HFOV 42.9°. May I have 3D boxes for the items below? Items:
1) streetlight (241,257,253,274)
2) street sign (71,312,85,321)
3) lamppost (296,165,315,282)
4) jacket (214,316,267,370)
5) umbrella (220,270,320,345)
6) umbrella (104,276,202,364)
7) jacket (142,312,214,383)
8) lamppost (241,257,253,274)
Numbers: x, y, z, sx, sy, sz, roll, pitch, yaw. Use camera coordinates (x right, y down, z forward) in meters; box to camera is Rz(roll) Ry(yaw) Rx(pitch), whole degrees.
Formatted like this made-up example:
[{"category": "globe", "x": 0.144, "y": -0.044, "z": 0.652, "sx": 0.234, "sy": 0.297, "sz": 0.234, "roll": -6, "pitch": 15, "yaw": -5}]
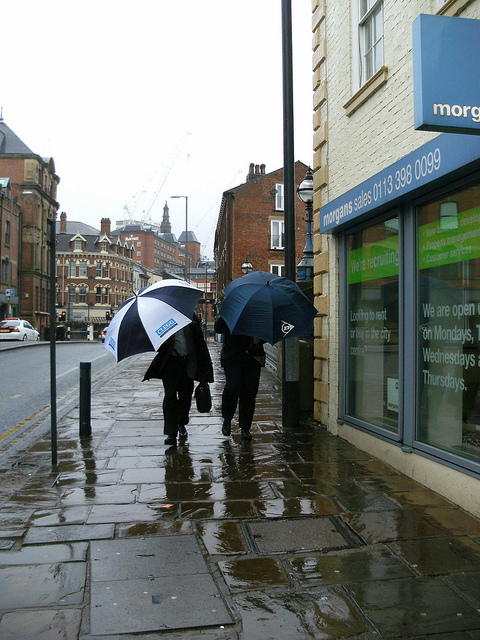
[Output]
[{"category": "streetlight", "x": 0.299, "y": -1.881, "z": 21.675, "sx": 0.428, "sy": 0.722, "sz": 0.444, "roll": 0, "pitch": 1, "yaw": -31}, {"category": "street sign", "x": -21.935, "y": -0.474, "z": 82.807, "sx": 1.600, "sy": 1.857, "sz": 0.917, "roll": 1, "pitch": -8, "yaw": -22}, {"category": "lamppost", "x": 1.281, "y": -1.759, "z": 12.021, "sx": 0.398, "sy": 2.847, "sz": 0.360, "roll": 0, "pitch": 3, "yaw": 0}, {"category": "jacket", "x": -0.027, "y": 0.322, "z": 6.685, "sx": 0.470, "sy": 0.667, "sz": 0.530, "roll": -2, "pitch": -14, "yaw": -9}, {"category": "umbrella", "x": 0.306, "y": -0.179, "z": 6.232, "sx": 0.991, "sy": 0.405, "sz": 1.054, "roll": -13, "pitch": 34, "yaw": -25}, {"category": "umbrella", "x": -0.800, "y": 0.001, "z": 5.664, "sx": 0.864, "sy": 0.718, "sz": 0.627, "roll": 0, "pitch": -1, "yaw": -16}, {"category": "jacket", "x": -0.647, "y": 0.341, "z": 6.419, "sx": 0.517, "sy": 0.871, "sz": 0.621, "roll": -1, "pitch": 4, "yaw": -25}, {"category": "lamppost", "x": 0.280, "y": -1.882, "z": 21.648, "sx": 0.408, "sy": 0.617, "sz": 0.445, "roll": 1, "pitch": 5, "yaw": -13}]
